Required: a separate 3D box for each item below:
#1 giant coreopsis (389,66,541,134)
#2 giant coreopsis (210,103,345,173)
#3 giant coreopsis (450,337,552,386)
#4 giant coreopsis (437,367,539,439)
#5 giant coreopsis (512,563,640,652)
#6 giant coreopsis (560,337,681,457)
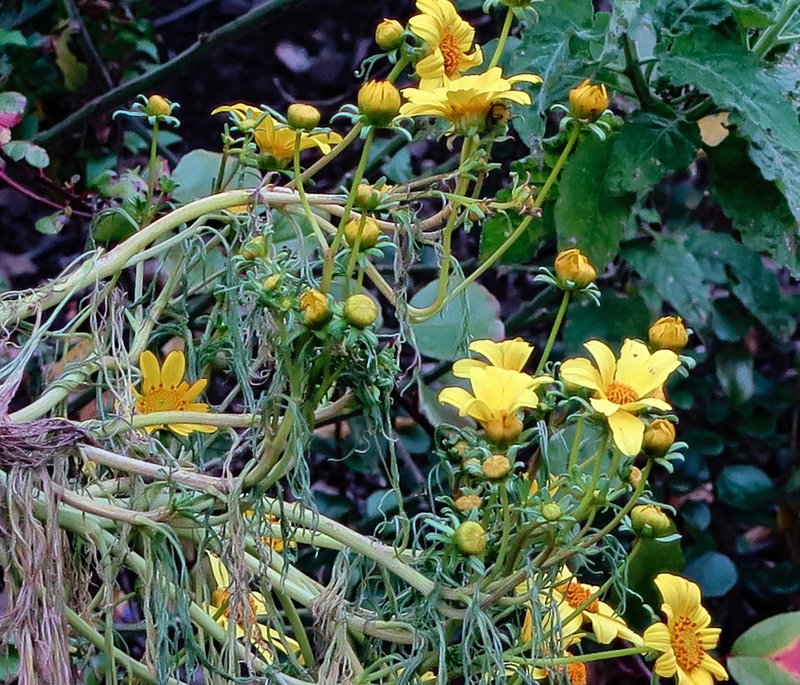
[{"bbox_3d":[0.046,-0.160,0.673,0.076,0.086,0.036,-7,94,-27],"label":"giant coreopsis"},{"bbox_3d":[-0.097,-0.148,0.752,0.081,0.095,0.037,12,86,2],"label":"giant coreopsis"},{"bbox_3d":[0.071,0.014,0.689,0.059,0.076,0.023,-13,99,-6],"label":"giant coreopsis"},{"bbox_3d":[0.063,0.038,0.653,0.049,0.027,0.052,-32,49,-10],"label":"giant coreopsis"},{"bbox_3d":[0.132,0.207,0.740,0.080,0.086,0.048,17,76,-16],"label":"giant coreopsis"},{"bbox_3d":[0.143,0.034,0.631,0.071,0.031,0.091,-7,27,26],"label":"giant coreopsis"}]
